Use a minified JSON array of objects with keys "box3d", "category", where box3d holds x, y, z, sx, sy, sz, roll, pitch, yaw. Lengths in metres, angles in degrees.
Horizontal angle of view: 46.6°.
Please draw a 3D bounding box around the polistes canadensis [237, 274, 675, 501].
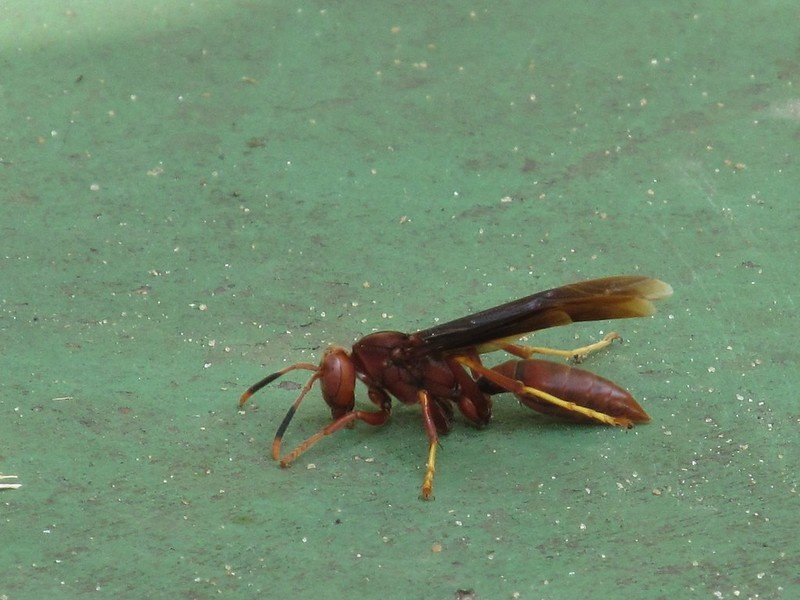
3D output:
[{"box3d":[0.597,0.420,5.475,2.532,2.830,1.075,0,98,25],"category":"polistes canadensis"}]
